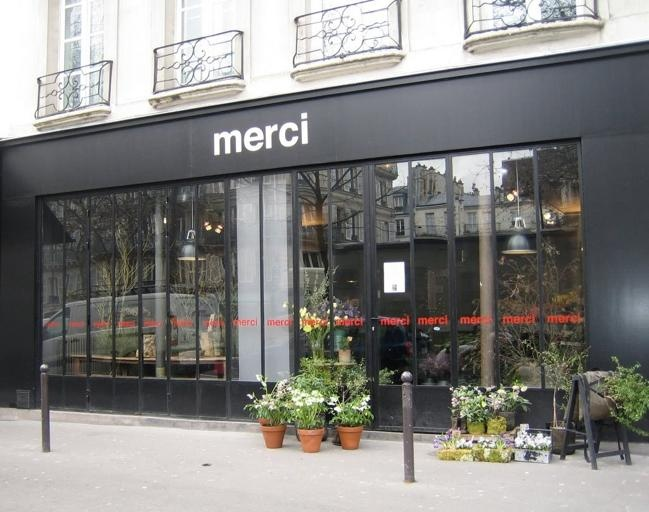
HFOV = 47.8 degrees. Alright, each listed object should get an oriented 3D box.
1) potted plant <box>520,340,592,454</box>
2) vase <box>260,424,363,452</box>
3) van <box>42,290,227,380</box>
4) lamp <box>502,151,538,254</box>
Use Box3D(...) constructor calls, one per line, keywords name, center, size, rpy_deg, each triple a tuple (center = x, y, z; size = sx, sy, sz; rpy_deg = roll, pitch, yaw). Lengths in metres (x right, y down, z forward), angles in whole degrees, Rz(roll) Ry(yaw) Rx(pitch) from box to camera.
Box3D(name="potted plant", center=(3.522, 2.052, 11.133), size=(0.637, 1.448, 0.786), rpy_deg=(2, 0, -25))
Box3D(name="vase", center=(-0.189, 2.766, 11.133), size=(1.790, 0.521, 0.563), rpy_deg=(-3, -6, 11))
Box3D(name="van", center=(-3.475, 1.312, 14.148), size=(1.893, 1.836, 2.912), rpy_deg=(0, -3, 38))
Box3D(name="lamp", center=(3.075, -0.829, 11.426), size=(0.297, 1.680, 0.441), rpy_deg=(1, 0, 1))
